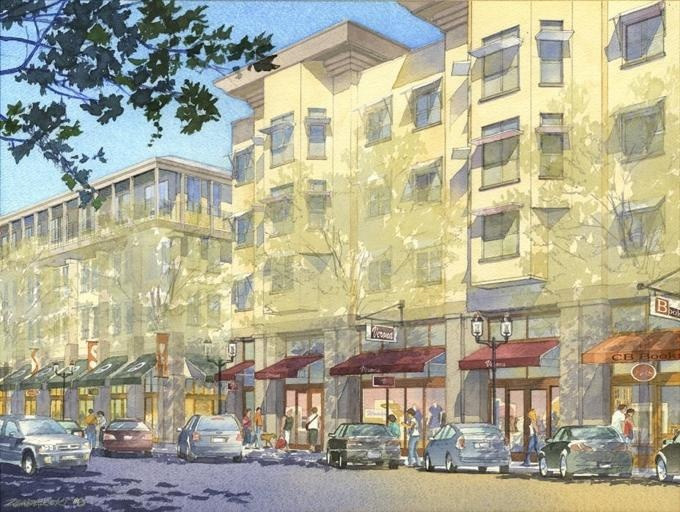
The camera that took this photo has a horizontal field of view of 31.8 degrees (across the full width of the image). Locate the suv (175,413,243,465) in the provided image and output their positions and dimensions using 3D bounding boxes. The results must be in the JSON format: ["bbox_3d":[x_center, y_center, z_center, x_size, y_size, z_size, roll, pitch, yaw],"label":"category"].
[{"bbox_3d":[-5.005,6.918,45.063,2.551,1.799,1.474,-11,-19,35],"label":"suv"}]

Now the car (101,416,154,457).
[{"bbox_3d":[-8.623,7.385,48.837,2.156,1.363,0.891,-2,-15,7],"label":"car"}]

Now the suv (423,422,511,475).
[{"bbox_3d":[4.301,6.648,41.055,1.444,1.668,2.900,14,-20,-41],"label":"suv"}]
